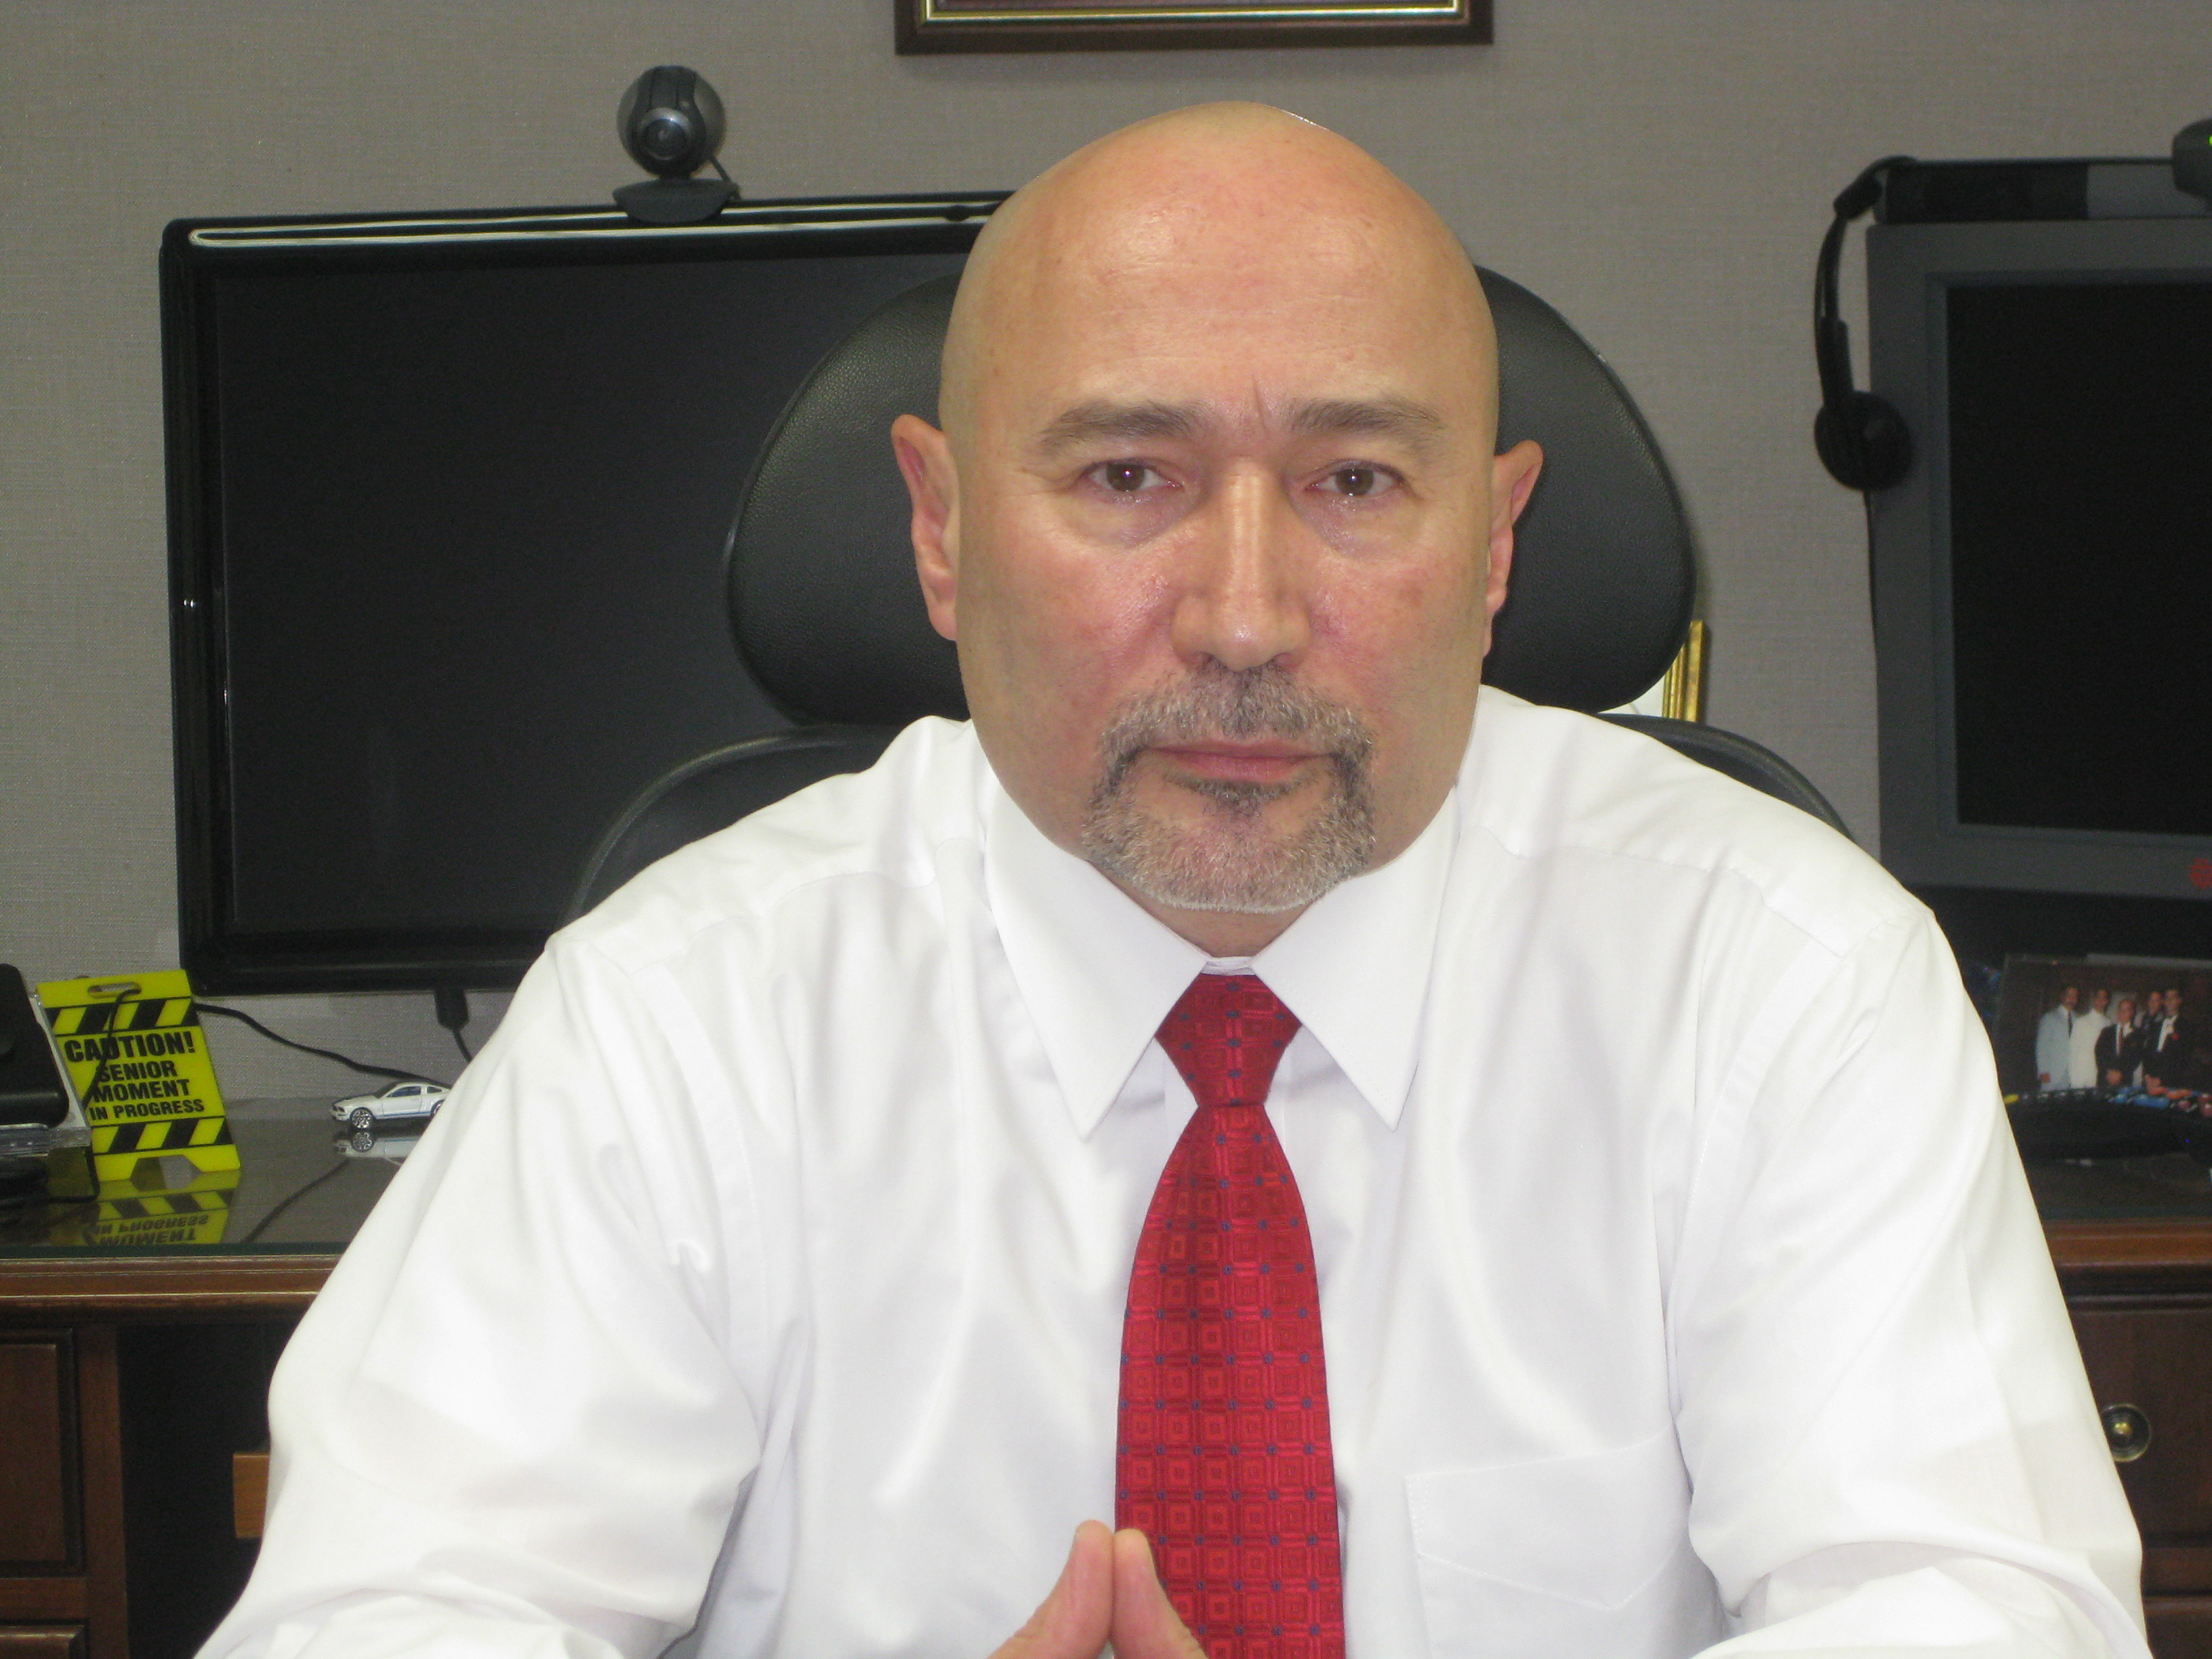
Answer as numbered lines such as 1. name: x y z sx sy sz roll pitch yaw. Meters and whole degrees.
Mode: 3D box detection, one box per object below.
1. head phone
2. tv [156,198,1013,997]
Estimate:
1. head phone: 0.653 -0.441 2.167 0.055 0.256 0.185 -6 16 5
2. tv: -0.428 -0.214 2.021 0.574 0.581 0.083 0 4 0
